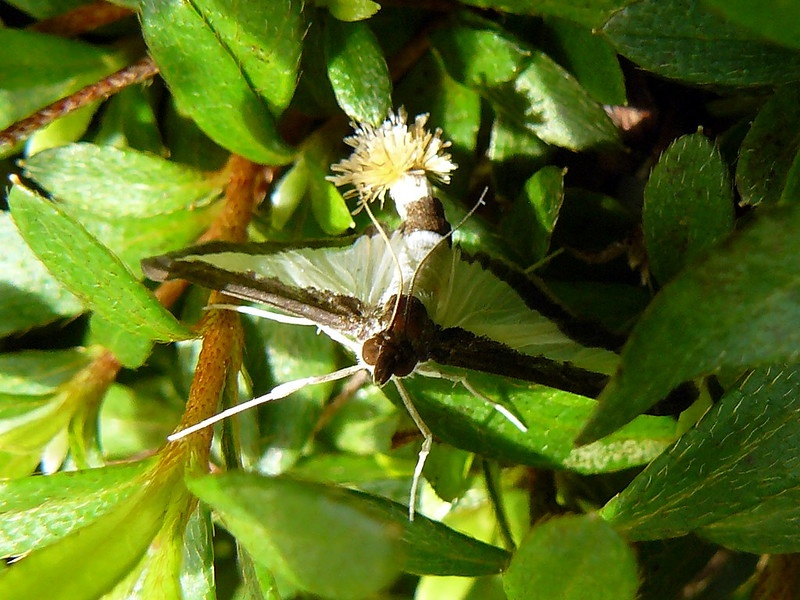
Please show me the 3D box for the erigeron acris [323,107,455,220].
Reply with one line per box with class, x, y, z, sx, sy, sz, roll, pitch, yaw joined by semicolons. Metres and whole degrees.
erigeron acris;0.000;-0.150;0.926;0.105;0.074;0.110;10;11;14
